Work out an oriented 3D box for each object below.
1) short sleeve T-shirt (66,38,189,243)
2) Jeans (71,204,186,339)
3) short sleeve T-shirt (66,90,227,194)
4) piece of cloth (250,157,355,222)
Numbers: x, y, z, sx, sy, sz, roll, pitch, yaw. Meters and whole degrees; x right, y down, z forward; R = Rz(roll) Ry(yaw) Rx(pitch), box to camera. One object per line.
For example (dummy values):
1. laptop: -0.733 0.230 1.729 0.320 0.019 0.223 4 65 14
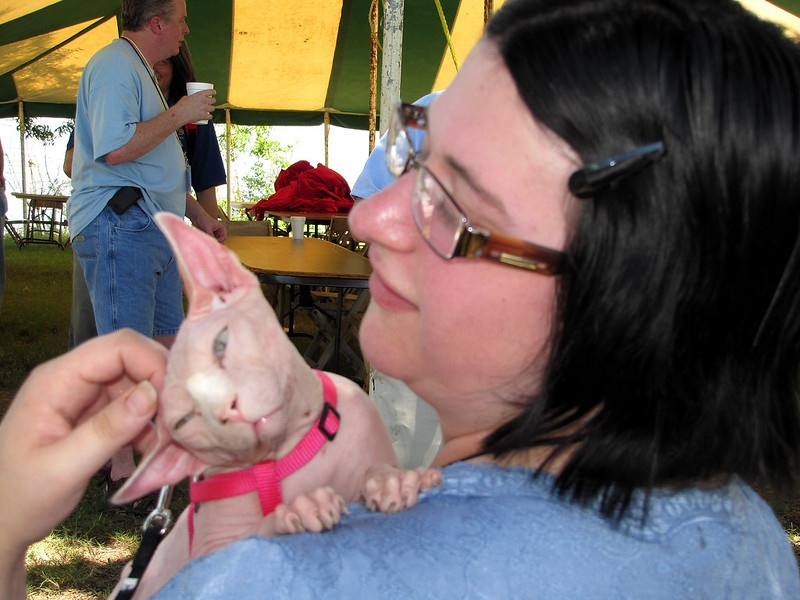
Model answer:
1. short sleeve T-shirt: -1.317 -0.751 3.397 0.508 1.048 0.945 0 9 -14
2. Jeans: -1.305 -0.103 3.305 0.364 0.775 0.502 0 -6 16
3. short sleeve T-shirt: -1.076 -0.730 3.145 0.474 0.115 0.272 -41 24 -23
4. piece of cloth: -0.900 -1.055 6.783 1.045 0.603 1.055 -7 25 -15
